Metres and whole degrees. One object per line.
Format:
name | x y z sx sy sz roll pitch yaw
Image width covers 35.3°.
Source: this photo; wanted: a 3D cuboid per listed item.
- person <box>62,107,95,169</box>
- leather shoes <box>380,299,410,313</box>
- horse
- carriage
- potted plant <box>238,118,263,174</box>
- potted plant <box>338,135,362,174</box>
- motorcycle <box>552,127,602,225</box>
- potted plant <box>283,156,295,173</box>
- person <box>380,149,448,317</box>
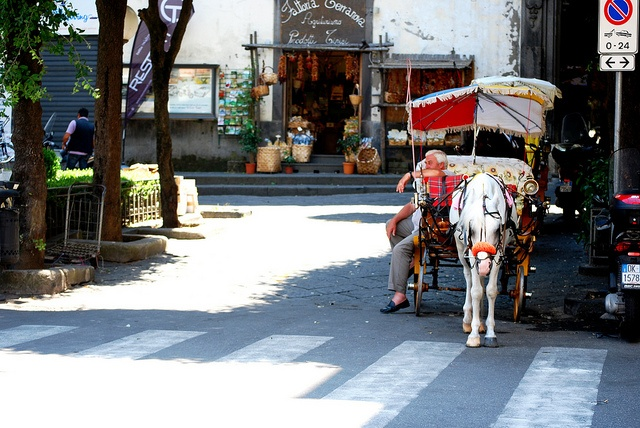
person | -6.214 -1.686 25.759 0.773 2.149 0.690 3 14 -32
leather shoes | 1.121 1.343 14.946 0.478 0.164 0.166 -10 0 -18
horse | 2.352 0.612 14.419 0.950 2.404 3.008 1 3 8
carriage | 2.495 -0.336 14.846 2.688 3.449 4.359 1 1 13
potted plant | -2.069 -2.014 30.169 0.598 1.526 0.613 1 -4 -36
potted plant | 0.951 -1.812 29.997 0.661 1.110 0.716 -7 13 -29
motorcycle | 5.284 -0.570 21.126 0.859 1.535 2.307 1 -5 17
potted plant | -0.912 -1.494 30.054 0.430 0.667 0.443 0 -4 -4
person | 1.401 0.247 14.937 1.013 2.369 0.973 6 13 28
